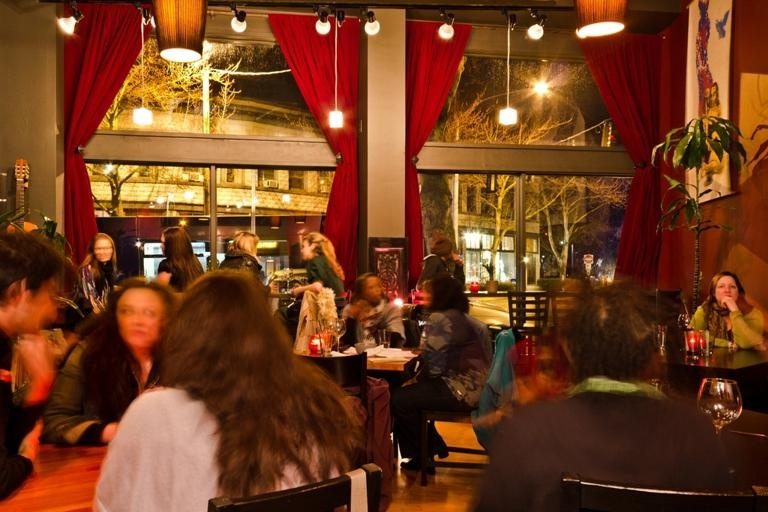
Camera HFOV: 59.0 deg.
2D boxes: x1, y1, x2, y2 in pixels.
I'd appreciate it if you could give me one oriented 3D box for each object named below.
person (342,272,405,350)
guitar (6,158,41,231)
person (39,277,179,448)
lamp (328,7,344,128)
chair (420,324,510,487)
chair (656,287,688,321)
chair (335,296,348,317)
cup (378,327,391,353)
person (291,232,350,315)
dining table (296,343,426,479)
[{"bbox_3d":[-0.078,0.485,5.909,0.566,1.046,0.577,-1,-10,-5],"label":"person"},{"bbox_3d":[-3.554,-0.637,6.710,0.188,0.905,1.587,-1,-3,-28],"label":"guitar"},{"bbox_3d":[-1.496,0.553,3.709,0.670,0.909,0.364,28,-10,-28],"label":"person"},{"bbox_3d":[-0.570,-2.133,7.919,0.185,1.415,0.680,-2,-2,-4],"label":"lamp"},{"bbox_3d":[0.589,1.075,4.944,0.738,1.149,0.733,0,-8,24],"label":"chair"},{"bbox_3d":[2.892,0.491,6.795,0.256,0.509,0.268,-2,-8,10],"label":"chair"},{"bbox_3d":[-0.414,0.520,6.975,0.182,0.197,0.191,0,-1,22],"label":"chair"},{"bbox_3d":[0.006,0.682,5.620,0.119,0.195,0.125,-1,-7,0],"label":"cup"},{"bbox_3d":[-0.650,0.254,6.805,0.467,0.920,0.532,-3,8,-5],"label":"person"},{"bbox_3d":[-0.067,1.069,4.795,0.702,1.292,0.864,0,2,21],"label":"dining table"}]
